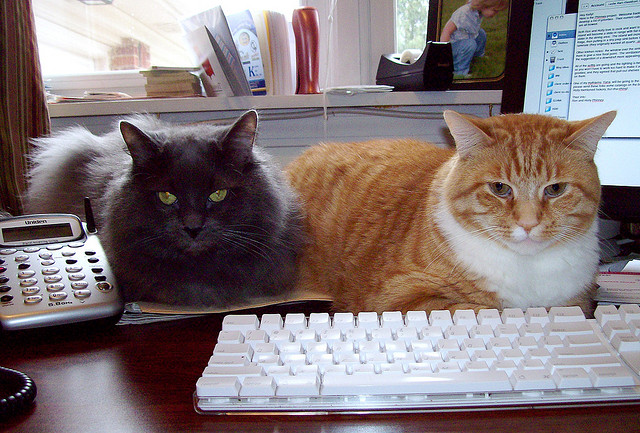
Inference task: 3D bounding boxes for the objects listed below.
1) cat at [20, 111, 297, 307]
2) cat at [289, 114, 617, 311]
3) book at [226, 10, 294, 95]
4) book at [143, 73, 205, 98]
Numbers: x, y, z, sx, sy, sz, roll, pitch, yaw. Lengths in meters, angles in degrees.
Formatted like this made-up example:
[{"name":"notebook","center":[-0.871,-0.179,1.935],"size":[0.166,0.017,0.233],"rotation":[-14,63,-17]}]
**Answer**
[{"name":"cat","center":[-0.322,-0.033,1.410],"size":[0.582,0.381,0.763],"rotation":[-2,9,-13]},{"name":"cat","center":[0.241,-0.020,1.303],"size":[0.462,0.363,0.736],"rotation":[-3,8,-30]},{"name":"book","center":[-0.230,-0.600,1.937],"size":[0.253,0.295,0.188],"rotation":[11,22,31]},{"name":"book","center":[-0.524,-0.472,1.855],"size":[0.192,0.083,0.090],"rotation":[-7,18,-20]}]
